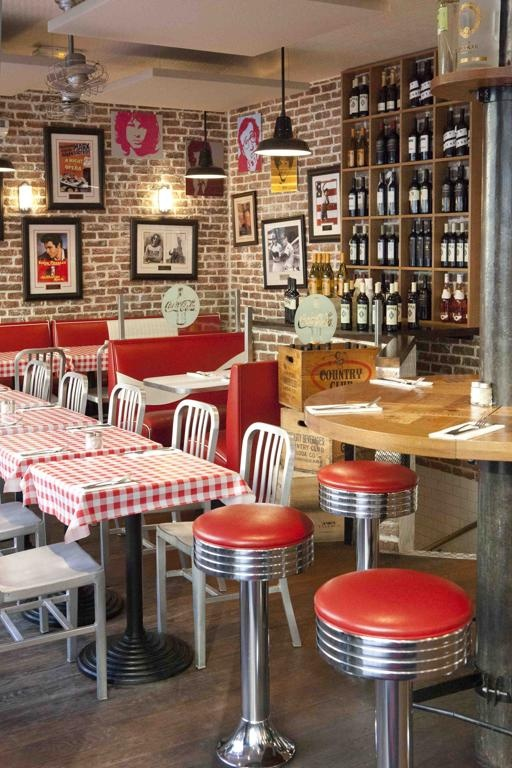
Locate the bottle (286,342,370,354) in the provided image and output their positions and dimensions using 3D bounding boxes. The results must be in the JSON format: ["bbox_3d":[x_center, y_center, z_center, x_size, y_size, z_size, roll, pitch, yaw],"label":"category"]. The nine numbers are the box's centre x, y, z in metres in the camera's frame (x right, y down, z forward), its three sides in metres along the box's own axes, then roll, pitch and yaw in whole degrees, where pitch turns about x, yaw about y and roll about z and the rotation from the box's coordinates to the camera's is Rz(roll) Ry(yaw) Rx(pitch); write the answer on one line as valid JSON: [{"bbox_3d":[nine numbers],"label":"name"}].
[{"bbox_3d":[0.451,-0.219,3.828,0.527,0.053,0.326,-1,3,-16],"label":"bottle"}]

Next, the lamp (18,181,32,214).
[{"bbox_3d":[-2.560,-2.083,7.107,0.156,0.325,0.165,-2,3,-23],"label":"lamp"}]

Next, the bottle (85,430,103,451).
[{"bbox_3d":[-0.680,0.237,2.686,0.069,0.081,0.077,1,-2,26],"label":"bottle"}]

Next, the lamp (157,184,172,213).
[{"bbox_3d":[-1.123,-2.292,7.953,0.199,0.347,0.106,-2,3,-28],"label":"lamp"}]

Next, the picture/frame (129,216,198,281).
[{"bbox_3d":[-1.194,-1.693,7.954,0.817,0.727,0.060,-4,5,-34],"label":"picture/frame"}]

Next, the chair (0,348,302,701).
[{"bbox_3d":[-0.477,0.558,2.538,0.863,0.762,0.866,-7,13,-36],"label":"chair"}]

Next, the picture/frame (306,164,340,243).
[{"bbox_3d":[0.706,-1.863,6.659,0.064,0.806,0.531,-2,3,-30],"label":"picture/frame"}]

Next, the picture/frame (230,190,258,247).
[{"bbox_3d":[-0.138,-2.082,8.005,0.064,0.826,0.693,-5,9,-29],"label":"picture/frame"}]

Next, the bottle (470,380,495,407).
[{"bbox_3d":[0.553,0.028,1.581,0.065,0.065,0.036,0,8,16],"label":"bottle"}]

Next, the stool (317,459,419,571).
[{"bbox_3d":[0.380,0.474,2.215,0.318,0.361,0.336,-1,3,-6],"label":"stool"}]

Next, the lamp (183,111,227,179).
[{"bbox_3d":[-0.535,-2.586,6.797,0.419,0.764,0.423,4,11,19],"label":"lamp"}]
